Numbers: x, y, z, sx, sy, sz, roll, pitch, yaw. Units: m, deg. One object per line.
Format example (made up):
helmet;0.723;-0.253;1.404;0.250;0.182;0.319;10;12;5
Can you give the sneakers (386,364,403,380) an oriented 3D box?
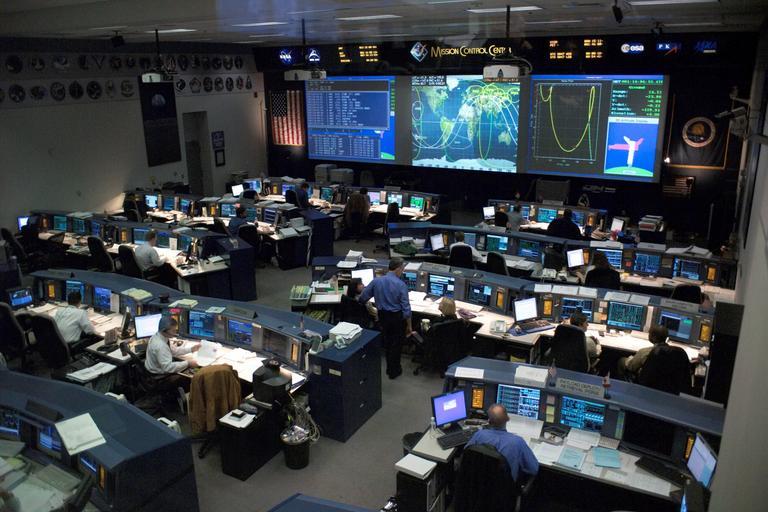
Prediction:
sneakers;0.175;1.996;10.100;0.148;0.280;0.310;23;35;39

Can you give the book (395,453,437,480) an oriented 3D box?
book;0.393;2.661;7.277;0.295;0.068;0.311;10;18;32

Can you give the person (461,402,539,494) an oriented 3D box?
person;1.460;2.391;7.012;0.830;0.997;0.586;3;16;14

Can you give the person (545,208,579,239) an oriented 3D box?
person;4.149;-0.747;13.328;0.718;0.675;0.404;12;18;30

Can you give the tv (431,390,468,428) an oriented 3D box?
tv;0.890;2.089;7.782;0.480;0.323;0.049;-9;8;-26

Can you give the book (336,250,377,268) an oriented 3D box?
book;-0.552;0.088;11.303;0.411;0.154;0.529;4;15;12

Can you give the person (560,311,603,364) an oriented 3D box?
person;3.202;1.320;9.159;0.483;0.916;0.731;5;17;20

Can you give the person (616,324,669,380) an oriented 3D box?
person;3.919;1.489;8.645;0.468;0.961;0.738;-1;15;1

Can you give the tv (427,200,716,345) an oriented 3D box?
tv;3.487;0.379;10.972;4.752;1.113;2.847;5;16;22

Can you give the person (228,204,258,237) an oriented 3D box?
person;-3.487;-0.860;14.207;0.788;0.749;0.443;9;21;18

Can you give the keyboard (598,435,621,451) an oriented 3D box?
keyboard;2.926;2.426;7.470;0.248;0.081;0.160;4;16;19

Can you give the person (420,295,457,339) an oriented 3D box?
person;0.878;1.064;9.906;0.644;0.746;0.837;-2;15;-3

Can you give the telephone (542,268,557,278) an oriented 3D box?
telephone;3.217;0.339;11.236;0.193;0.054;0.209;6;24;14

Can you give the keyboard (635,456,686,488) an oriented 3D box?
keyboard;3.434;2.640;7.087;0.436;0.088;0.238;23;44;38

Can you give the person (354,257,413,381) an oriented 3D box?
person;0.032;1.075;10.090;1.023;2.043;0.669;4;11;19

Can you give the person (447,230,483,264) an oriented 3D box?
person;1.754;-0.180;12.281;0.474;0.752;0.488;12;37;24

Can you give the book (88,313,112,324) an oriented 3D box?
book;-5.044;1.115;10.185;0.215;0.048;0.202;8;13;22

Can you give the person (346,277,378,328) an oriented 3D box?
person;-0.430;0.813;10.717;0.846;0.936;0.746;1;18;3

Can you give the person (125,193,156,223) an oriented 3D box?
person;-6.637;-1.279;15.599;0.731;0.834;0.797;7;25;5

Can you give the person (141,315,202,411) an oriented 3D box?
person;-3.331;1.752;9.119;1.027;1.532;0.733;-4;10;-37

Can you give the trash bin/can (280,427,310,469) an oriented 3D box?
trash bin/can;-1.277;2.767;8.326;0.414;0.536;0.331;-4;16;-11

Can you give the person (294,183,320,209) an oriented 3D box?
person;-2.212;-1.675;16.186;0.498;0.965;0.594;21;35;32
